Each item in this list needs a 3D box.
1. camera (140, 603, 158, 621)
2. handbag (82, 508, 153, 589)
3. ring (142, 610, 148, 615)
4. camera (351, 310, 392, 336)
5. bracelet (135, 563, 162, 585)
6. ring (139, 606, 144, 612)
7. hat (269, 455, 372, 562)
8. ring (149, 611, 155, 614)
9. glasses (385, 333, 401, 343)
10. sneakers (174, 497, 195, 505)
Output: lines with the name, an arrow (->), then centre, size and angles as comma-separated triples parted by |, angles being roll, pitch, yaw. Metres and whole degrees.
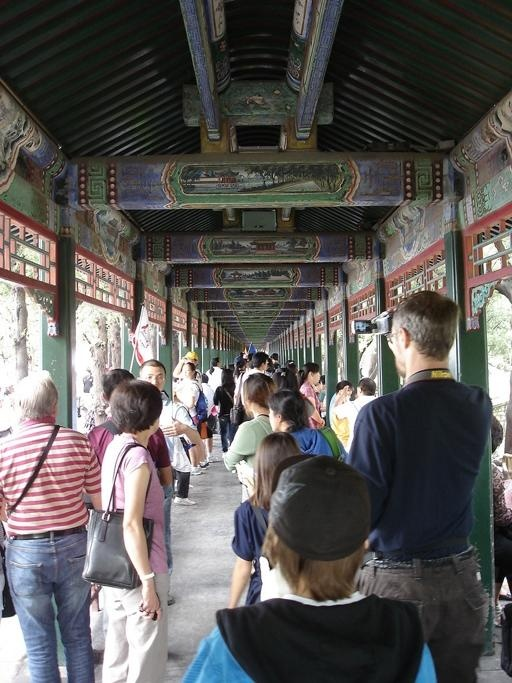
camera -> -0.382, 0.981, 2.187 | 0.081, 0.056, 0.034 | -6, 3, 30
handbag -> -0.536, 0.780, 2.239 | 0.256, 0.288, 0.121 | -2, -6, 12
ring -> -0.405, 0.986, 2.191 | 0.014, 0.018, 0.006 | -2, -8, 8
camera -> 0.443, -0.063, 2.329 | 0.150, 0.056, 0.092 | 4, -34, -1
bracelet -> -0.382, 0.837, 2.180 | 0.066, 0.087, 0.090 | 0, -36, -3
ring -> -0.417, 0.983, 2.202 | 0.016, 0.017, 0.026 | 7, -32, 9
hat -> 0.115, 0.257, 1.046 | 0.190, 0.080, 0.249 | 1, 24, -5
ring -> -0.377, 0.990, 2.198 | 0.016, 0.011, 0.020 | -1, -11, -13
glasses -> 0.446, -0.009, 1.961 | 0.043, 0.043, 0.014 | 4, 2, -6
sneakers -> -0.751, 1.700, 6.396 | 0.242, 0.107, 0.085 | 2, -5, 2
